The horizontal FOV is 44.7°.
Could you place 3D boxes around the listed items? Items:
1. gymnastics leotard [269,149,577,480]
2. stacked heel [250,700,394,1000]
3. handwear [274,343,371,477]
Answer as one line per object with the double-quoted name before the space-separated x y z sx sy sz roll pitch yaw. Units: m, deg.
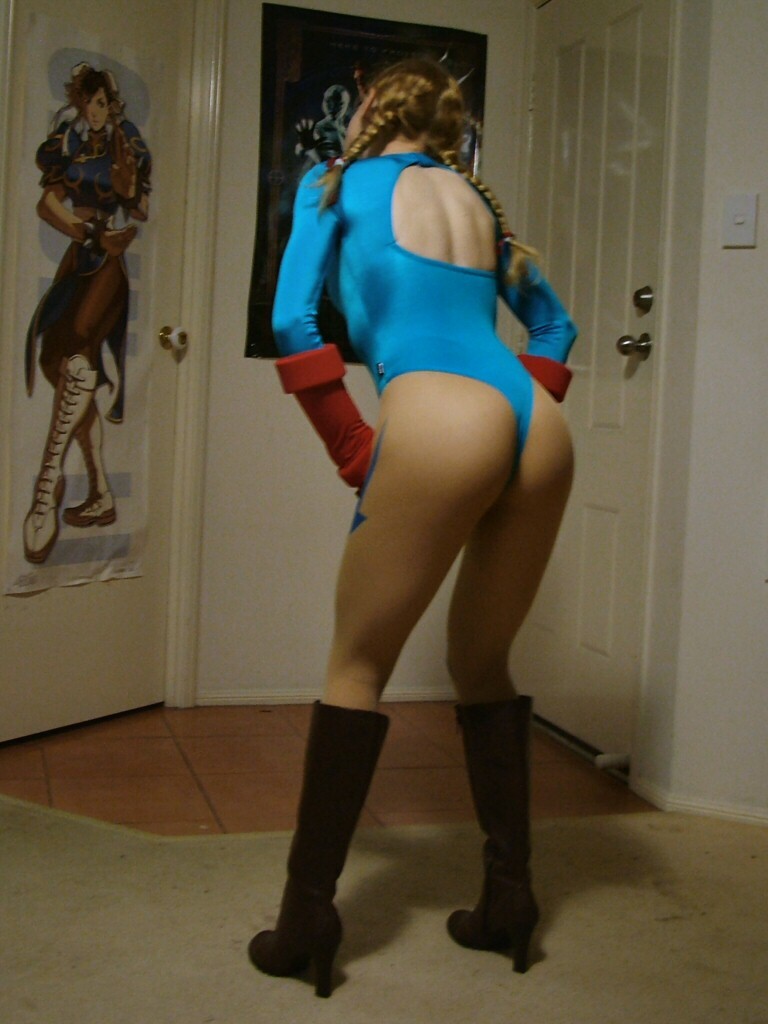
"gymnastics leotard" 0.066 -0.237 1.246 0.435 0.450 0.222 -2 -15 -22
"stacked heel" -0.093 0.436 1.249 0.123 0.374 0.204 3 0 -21
"handwear" -0.075 -0.117 1.170 0.125 0.181 0.090 3 0 -2
